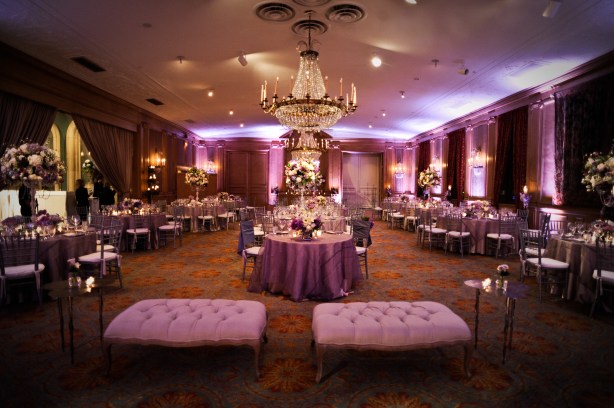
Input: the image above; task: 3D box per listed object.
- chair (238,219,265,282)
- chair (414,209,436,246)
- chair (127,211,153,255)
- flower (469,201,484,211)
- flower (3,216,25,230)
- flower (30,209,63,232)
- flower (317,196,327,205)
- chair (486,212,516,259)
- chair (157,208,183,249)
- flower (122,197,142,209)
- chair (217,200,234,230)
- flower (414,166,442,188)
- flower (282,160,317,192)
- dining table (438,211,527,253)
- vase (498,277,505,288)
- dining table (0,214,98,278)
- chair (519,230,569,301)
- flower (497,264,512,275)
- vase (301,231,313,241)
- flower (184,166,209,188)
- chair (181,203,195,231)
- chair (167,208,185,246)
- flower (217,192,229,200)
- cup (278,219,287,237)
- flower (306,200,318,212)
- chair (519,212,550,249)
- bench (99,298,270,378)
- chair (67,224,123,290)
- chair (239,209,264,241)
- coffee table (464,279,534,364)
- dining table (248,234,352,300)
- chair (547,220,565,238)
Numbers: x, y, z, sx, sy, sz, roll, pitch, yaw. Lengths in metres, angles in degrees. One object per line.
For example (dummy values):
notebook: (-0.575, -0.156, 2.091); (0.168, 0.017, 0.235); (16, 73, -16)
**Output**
chair: (-1.131, 0.970, 8.445); (0.884, 1.148, 0.870); (3, 2, -26)
chair: (3.439, 0.488, 11.206); (0.373, 0.651, 0.415); (-9, -10, 8)
chair: (-4.439, 0.733, 10.479); (0.644, 0.901, 0.689); (1, 3, 15)
flower: (4.635, 0.036, 10.643); (0.307, 0.103, 0.291); (-7, 7, -7)
flower: (-5.535, 0.347, 7.344); (0.328, 0.170, 0.264); (5, 4, 26)
flower: (-5.020, 0.304, 7.523); (0.421, 0.303, 0.427); (3, 1, -17)
flower: (0.393, -0.076, 9.995); (0.230, 0.245, 0.243); (0, 17, -7)
chair: (5.064, 0.810, 10.102); (0.776, 1.111, 0.580); (-1, 3, 3)
chair: (-3.961, 0.657, 11.184); (0.582, 0.966, 0.561); (-3, 3, -9)
flower: (-4.818, -0.027, 10.718); (0.547, 0.349, 0.558); (5, 0, 26)
chair: (-3.028, 0.392, 14.472); (0.627, 0.956, 0.589); (0, 2, 34)
flower: (4.796, -1.084, 15.341); (1.037, 1.138, 1.136); (2, 17, 15)
flower: (-0.022, -0.564, 9.980); (0.839, 0.841, 0.838); (-8, -2, 11)
dining table: (4.592, 0.588, 10.542); (1.349, 0.646, 1.355); (1, 1, 3)
vase: (2.795, 1.126, 5.610); (0.054, 0.134, 0.103); (1, 3, 34)
dining table: (-4.740, 0.847, 7.439); (1.180, 0.621, 1.200); (14, 8, 28)
chair: (4.745, 1.173, 7.561); (0.737, 1.011, 0.737); (5, -2, -33)
flower: (2.845, 0.956, 5.679); (0.151, 0.177, 0.236); (0, 3, 23)
vase: (-0.013, 0.601, 7.474); (0.178, 0.178, 0.187); (6, 8, 35)
flower: (-4.623, -1.115, 15.960); (0.943, 0.989, 0.977); (2, 16, -4)
chair: (-4.119, 0.453, 13.222); (0.329, 0.604, 0.380); (-16, 21, -32)
chair: (-4.197, 0.658, 12.146); (0.582, 1.084, 0.659); (6, 9, 19)
flower: (-3.379, -0.335, 15.633); (0.346, 0.292, 0.354); (3, 3, 12)
cup: (-0.501, 0.473, 7.965); (0.251, 0.300, 0.261); (0, -3, 0)
flower: (0.121, 0.033, 8.948); (0.246, 0.288, 0.285); (0, 8, -8)
chair: (5.148, 0.710, 8.711); (0.419, 0.577, 0.408); (-12, -9, 30)
bench: (-1.727, 1.958, 5.705); (2.208, 0.958, 0.637); (-1, 3, 4)
chair: (-4.134, 1.032, 7.861); (0.757, 1.023, 0.748); (-3, 0, 11)
chair: (-1.566, 0.551, 10.782); (0.599, 0.908, 0.712); (0, 9, 7)
coffee table: (3.049, 1.912, 6.213); (1.038, 1.145, 0.837); (3, 17, 19)
dining table: (-0.036, 1.193, 7.395); (1.510, 0.702, 1.355); (1, 1, -10)
chair: (5.744, 0.581, 9.034); (0.332, 0.592, 0.371); (-1, -5, 18)
